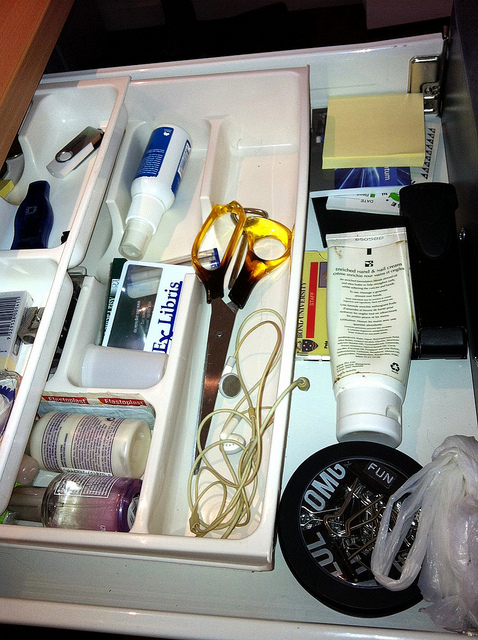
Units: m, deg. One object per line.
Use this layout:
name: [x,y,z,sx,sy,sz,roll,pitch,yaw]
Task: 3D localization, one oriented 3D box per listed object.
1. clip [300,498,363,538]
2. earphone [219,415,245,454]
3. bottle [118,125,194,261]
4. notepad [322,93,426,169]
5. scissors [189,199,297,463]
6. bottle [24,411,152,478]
clip: [0.092,0.187,0.431,0.054,0.025,0.057,-1,37,25]
earphone: [-0.013,0.132,0.510,0.019,0.014,0.041,6,63,6]
bottle: [-0.123,-0.199,0.667,0.063,0.063,0.221,11,68,9]
notepad: [0.200,-0.275,0.641,0.127,0.033,0.142,0,61,17]
scissors: [-0.018,0.005,0.583,0.124,0.048,0.371,4,65,21]
bottle: [-0.172,0.137,0.498,0.136,0.052,0.070,2,58,15]
